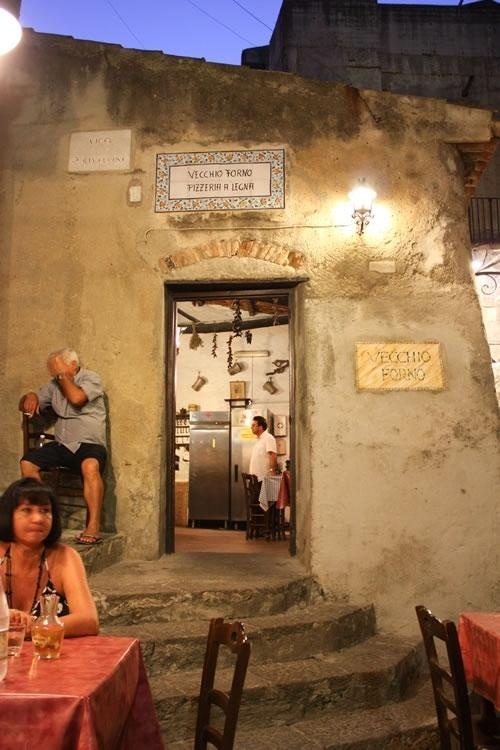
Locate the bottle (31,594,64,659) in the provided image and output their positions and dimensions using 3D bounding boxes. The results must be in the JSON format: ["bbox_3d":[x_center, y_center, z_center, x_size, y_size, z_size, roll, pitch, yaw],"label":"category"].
[{"bbox_3d":[-0.642,0.799,2.190,0.099,0.184,0.101,3,-5,0],"label":"bottle"}]

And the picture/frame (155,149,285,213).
[{"bbox_3d":[-0.241,-1.547,5.463,1.014,0.492,0.032,-1,-5,4],"label":"picture/frame"}]

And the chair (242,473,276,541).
[{"bbox_3d":[0.111,1.550,8.100,0.350,0.734,1.060,0,-5,-1],"label":"chair"}]

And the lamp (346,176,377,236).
[{"bbox_3d":[0.860,-1.293,5.248,0.169,0.371,0.169,15,38,31],"label":"lamp"}]

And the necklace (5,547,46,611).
[{"bbox_3d":[-0.889,0.794,2.712,0.136,0.246,0.064,4,-11,-12],"label":"necklace"}]

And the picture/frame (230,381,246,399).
[{"bbox_3d":[-0.188,0.243,11.278,0.262,0.263,0.102,1,4,7],"label":"picture/frame"}]

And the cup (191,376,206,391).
[{"bbox_3d":[-0.861,0.135,11.661,0.259,0.290,0.120,-1,-5,3],"label":"cup"}]

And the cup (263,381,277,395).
[{"bbox_3d":[0.332,0.198,11.173,0.176,0.238,0.159,18,15,15],"label":"cup"}]

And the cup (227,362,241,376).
[{"bbox_3d":[-0.237,-0.117,11.307,0.222,0.199,0.204,-22,-19,-8],"label":"cup"}]

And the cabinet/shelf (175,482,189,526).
[{"bbox_3d":[-1.027,1.946,10.420,0.174,0.637,0.420,0,-5,-5],"label":"cabinet/shelf"}]

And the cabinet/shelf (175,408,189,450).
[{"bbox_3d":[-1.103,0.888,11.252,0.188,0.695,0.509,1,-6,-11],"label":"cabinet/shelf"}]

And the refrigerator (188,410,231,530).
[{"bbox_3d":[-0.602,1.334,10.242,0.654,1.573,0.443,-1,-5,7],"label":"refrigerator"}]
